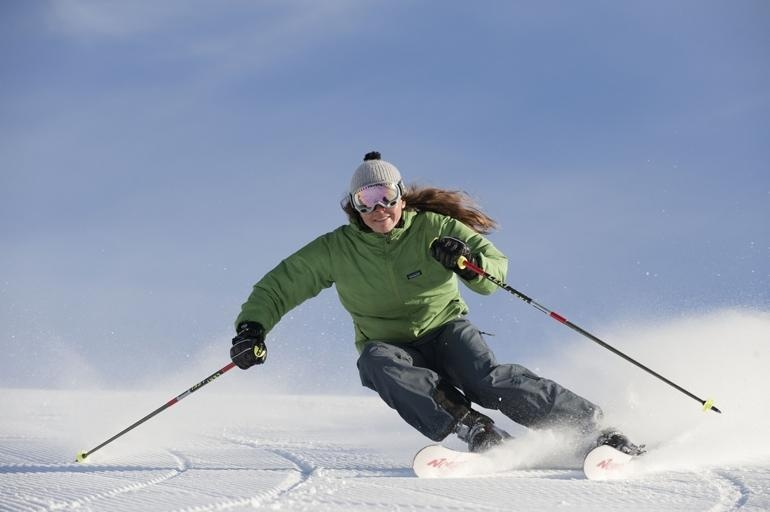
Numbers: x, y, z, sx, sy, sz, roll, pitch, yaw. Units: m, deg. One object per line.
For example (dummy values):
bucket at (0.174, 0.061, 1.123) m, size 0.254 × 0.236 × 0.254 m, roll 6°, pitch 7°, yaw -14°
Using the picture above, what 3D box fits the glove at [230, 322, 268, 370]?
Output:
glove at (-1.115, 0.752, 7.212) m, size 0.275 × 0.388 × 0.364 m, roll 0°, pitch 13°, yaw -8°

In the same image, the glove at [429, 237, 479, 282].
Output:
glove at (0.566, -0.088, 7.328) m, size 0.306 × 0.199 × 0.529 m, roll 22°, pitch 22°, yaw 12°
